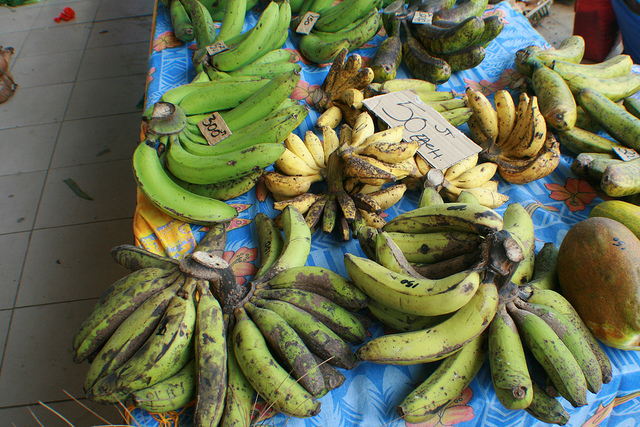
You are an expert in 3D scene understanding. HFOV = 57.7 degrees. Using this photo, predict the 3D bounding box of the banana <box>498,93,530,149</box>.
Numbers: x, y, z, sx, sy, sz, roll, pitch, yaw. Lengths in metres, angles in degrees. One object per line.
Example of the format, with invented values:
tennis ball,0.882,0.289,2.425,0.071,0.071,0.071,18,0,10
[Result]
banana,1.064,-0.513,3.164,0.103,0.066,0.320,32,110,4

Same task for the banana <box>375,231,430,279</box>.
banana,0.378,0.195,2.651,0.053,0.066,0.202,-42,83,25

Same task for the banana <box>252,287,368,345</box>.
banana,-0.077,0.478,2.761,0.655,0.191,0.139,18,21,22

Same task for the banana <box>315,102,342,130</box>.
banana,0.049,-0.554,3.282,0.092,0.109,0.160,9,29,26

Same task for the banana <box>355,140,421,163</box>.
banana,0.356,-0.315,2.987,0.362,0.106,0.138,-5,90,14

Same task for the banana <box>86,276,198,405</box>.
banana,-0.757,0.572,2.532,0.184,0.127,0.575,32,87,-9

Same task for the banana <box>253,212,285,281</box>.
banana,-0.242,0.193,2.910,0.192,0.110,0.464,-4,54,3

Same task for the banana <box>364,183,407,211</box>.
banana,0.358,-0.045,3.020,0.228,0.072,0.087,-22,49,2

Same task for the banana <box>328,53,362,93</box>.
banana,0.142,-0.805,3.352,0.077,0.271,0.086,29,39,-8

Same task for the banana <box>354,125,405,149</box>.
banana,0.304,-0.395,3.011,0.204,0.056,0.072,-30,100,-27

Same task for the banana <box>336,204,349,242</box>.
banana,0.113,0.051,2.986,0.058,0.040,0.194,-26,69,20

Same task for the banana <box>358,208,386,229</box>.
banana,0.268,0.023,2.981,0.180,0.063,0.051,30,47,6

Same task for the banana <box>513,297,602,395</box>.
banana,1.099,0.606,2.691,0.481,0.126,0.242,40,87,11

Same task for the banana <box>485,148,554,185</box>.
banana,1.090,-0.233,3.107,0.184,0.118,0.229,1,14,-24

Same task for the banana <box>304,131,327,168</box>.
banana,-0.025,-0.345,3.130,0.068,0.079,0.244,-24,72,-9

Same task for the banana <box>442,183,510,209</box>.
banana,0.808,-0.081,3.077,0.327,0.103,0.100,12,93,45

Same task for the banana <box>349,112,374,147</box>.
banana,0.236,-0.452,3.075,0.067,0.087,0.243,-14,32,32

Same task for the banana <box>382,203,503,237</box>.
banana,0.535,0.033,2.683,0.552,0.174,0.120,2,30,21

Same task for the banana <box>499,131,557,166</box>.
banana,1.136,-0.358,3.159,0.226,0.076,0.204,-35,93,22

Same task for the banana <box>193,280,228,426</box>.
banana,-0.478,0.604,2.562,0.175,0.110,0.610,-14,75,39

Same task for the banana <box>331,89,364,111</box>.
banana,0.162,-0.644,3.256,0.206,0.060,0.115,30,107,43

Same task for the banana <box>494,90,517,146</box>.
banana,0.995,-0.530,3.131,0.070,0.110,0.341,0,93,4

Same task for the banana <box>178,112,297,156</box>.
banana,-0.420,-0.399,2.958,0.344,0.133,0.079,-17,40,5

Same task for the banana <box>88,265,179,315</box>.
banana,-0.873,0.369,2.736,0.440,0.094,0.121,-39,76,-2

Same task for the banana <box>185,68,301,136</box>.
banana,-0.413,-0.576,3.059,0.473,0.102,0.180,-35,44,14

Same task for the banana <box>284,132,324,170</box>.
banana,-0.078,-0.310,3.094,0.087,0.277,0.076,0,44,-30

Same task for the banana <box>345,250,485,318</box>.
banana,0.437,0.316,2.579,0.361,0.091,0.152,10,39,28

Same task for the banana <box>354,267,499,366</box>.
banana,0.440,0.359,2.499,0.622,0.224,0.228,10,62,-17

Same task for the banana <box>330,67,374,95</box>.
banana,0.174,-0.756,3.336,0.078,0.276,0.105,-29,92,-49

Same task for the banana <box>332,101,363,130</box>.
banana,0.152,-0.562,3.294,0.074,0.059,0.217,-28,39,-16

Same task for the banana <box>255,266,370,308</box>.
banana,-0.031,0.347,2.672,0.283,0.102,0.080,15,47,-6

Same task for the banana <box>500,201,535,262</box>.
banana,0.909,0.093,2.678,0.116,0.080,0.246,32,30,-3

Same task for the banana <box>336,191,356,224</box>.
banana,0.130,-0.037,2.931,0.054,0.049,0.187,-40,39,12

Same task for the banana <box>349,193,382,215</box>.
banana,0.231,-0.052,2.926,0.206,0.063,0.067,31,99,40

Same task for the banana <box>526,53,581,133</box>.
banana,1.294,-0.671,3.289,0.177,0.245,0.670,-6,36,3

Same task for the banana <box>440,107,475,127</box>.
banana,0.762,-0.538,3.221,0.069,0.269,0.095,-11,94,36

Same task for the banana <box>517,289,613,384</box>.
banana,1.080,0.558,2.589,0.120,0.145,0.534,-53,50,6

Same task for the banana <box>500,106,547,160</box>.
banana,1.089,-0.437,3.099,0.071,0.246,0.154,16,21,-6
